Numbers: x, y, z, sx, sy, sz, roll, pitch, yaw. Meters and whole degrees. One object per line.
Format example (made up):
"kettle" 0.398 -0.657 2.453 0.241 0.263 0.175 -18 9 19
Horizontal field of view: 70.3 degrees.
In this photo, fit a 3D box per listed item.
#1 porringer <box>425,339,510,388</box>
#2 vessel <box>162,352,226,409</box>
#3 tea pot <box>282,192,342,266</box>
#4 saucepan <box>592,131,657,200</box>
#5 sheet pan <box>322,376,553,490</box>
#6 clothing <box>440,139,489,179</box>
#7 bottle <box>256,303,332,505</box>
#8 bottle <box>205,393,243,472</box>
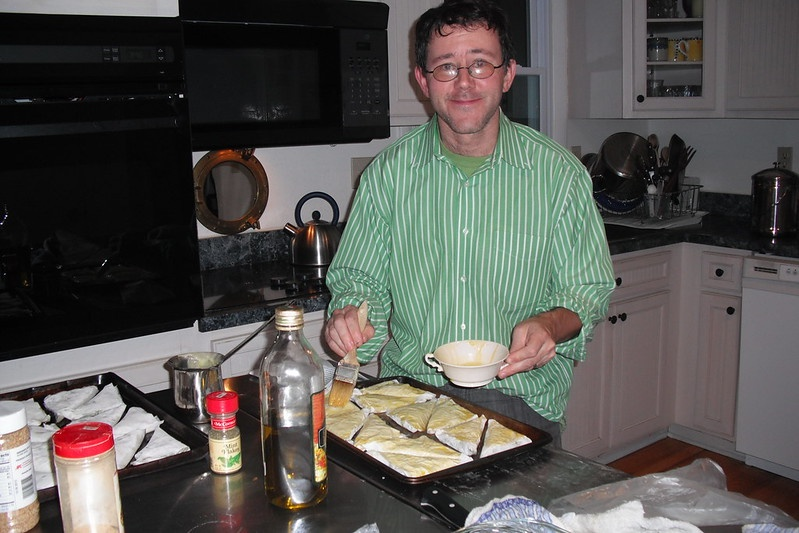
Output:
"porringer" 0.168 0.210 1.387 0.122 0.057 0.152 -9 9 -34
"vessel" -0.521 0.311 1.478 0.108 0.160 0.135 12 14 31
"tea pot" -0.416 -0.206 2.912 0.404 0.429 0.268 -3 16 -11
"saucepan" 1.294 -0.587 3.425 0.312 0.382 0.348 -2 -27 6
"sheet pan" 0.034 0.404 1.373 0.548 0.060 0.395 13 22 43
"clothing" 0.198 -0.326 1.747 0.093 0.135 0.048 -2 -5 -8
"bottle" -0.214 0.297 1.132 0.132 0.351 0.114 -5 14 -12
"bottle" -0.390 0.351 1.255 0.074 0.177 0.121 -7 15 -18
